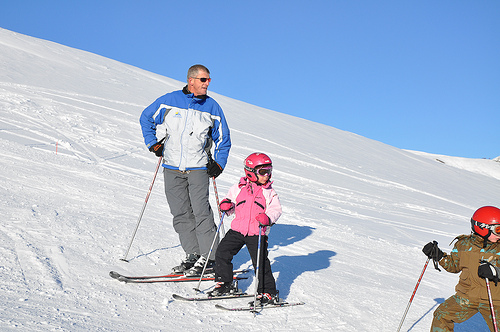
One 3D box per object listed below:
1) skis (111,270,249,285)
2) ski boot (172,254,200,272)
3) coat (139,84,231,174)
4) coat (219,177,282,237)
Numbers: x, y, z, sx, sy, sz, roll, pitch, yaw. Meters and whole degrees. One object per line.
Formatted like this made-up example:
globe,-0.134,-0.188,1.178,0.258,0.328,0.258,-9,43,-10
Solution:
skis,-1.377,1.998,10.574,2.028,0.153,0.281,3,0,-14
ski boot,-1.158,1.801,10.938,0.608,0.262,0.196,-2,11,-18
coat,-1.199,-0.727,11.052,1.813,1.492,0.734,9,10,0
coat,0.058,0.695,10.588,1.138,1.048,0.803,7,7,28
